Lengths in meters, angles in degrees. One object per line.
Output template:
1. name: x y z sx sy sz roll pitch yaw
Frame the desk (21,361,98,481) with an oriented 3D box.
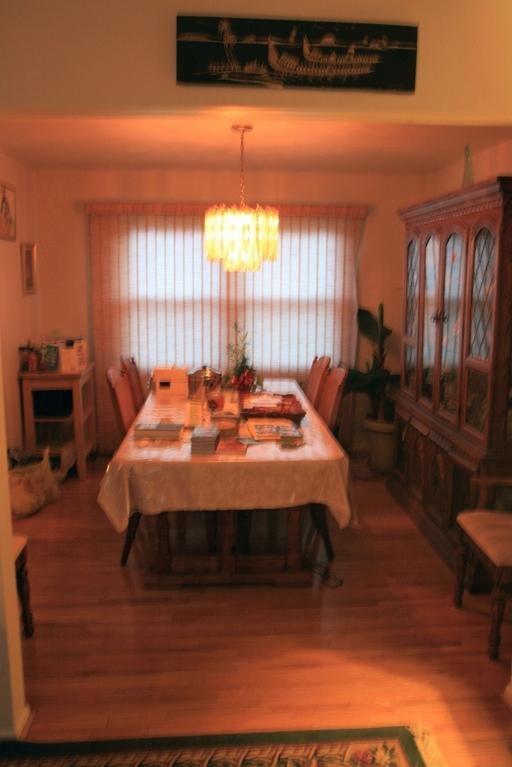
1. desk: -1.581 0.268 4.533 0.428 0.766 0.598 -2 6 -11

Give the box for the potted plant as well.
1. potted plant: 1.060 0.073 4.775 0.415 1.234 0.565 -4 14 8
